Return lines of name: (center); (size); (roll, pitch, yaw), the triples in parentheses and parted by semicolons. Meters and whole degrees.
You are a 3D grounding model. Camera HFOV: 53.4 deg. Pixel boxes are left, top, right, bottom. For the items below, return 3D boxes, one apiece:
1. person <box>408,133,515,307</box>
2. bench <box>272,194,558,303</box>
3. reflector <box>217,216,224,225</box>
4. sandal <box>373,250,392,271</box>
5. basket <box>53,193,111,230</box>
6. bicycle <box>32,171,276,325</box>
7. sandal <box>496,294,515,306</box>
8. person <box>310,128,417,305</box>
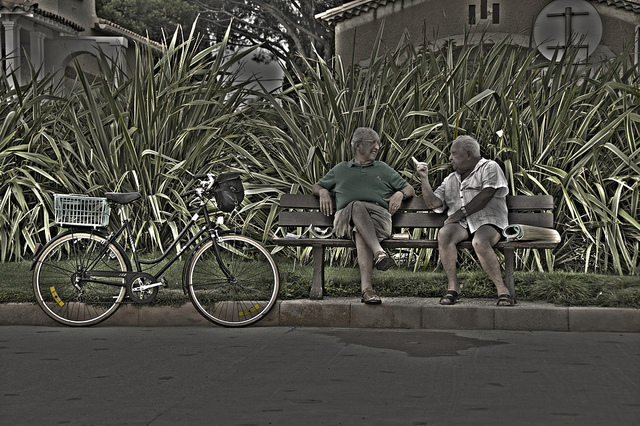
person: (1.616, 0.147, 7.203); (1.156, 2.009, 1.211); (25, -34, -32)
bench: (1.044, 0.376, 7.244); (3.163, 0.951, 0.694); (1, -24, 16)
reflector: (-1.010, 0.080, 6.447); (0.055, 0.063, 0.020); (-7, -6, 38)
sandal: (0.640, 0.493, 6.481); (0.172, 0.217, 0.184); (0, 10, 2)
basket: (-2.438, -0.016, 6.560); (0.520, 0.273, 0.320); (3, -7, -5)
bicycle: (-1.709, 0.409, 6.540); (2.617, 1.413, 1.139); (0, -8, 3)
sandal: (1.876, 0.879, 6.430); (0.191, 0.099, 0.138); (0, 9, -2)
person: (0.447, 0.013, 6.931); (1.103, 1.835, 1.119); (0, 10, 3)
